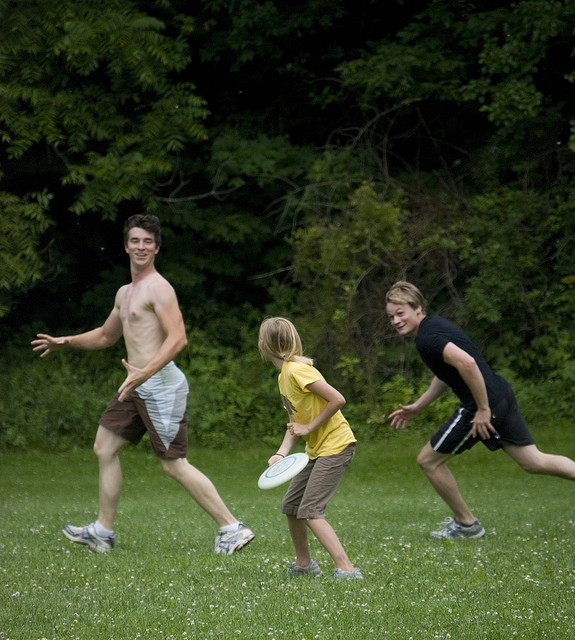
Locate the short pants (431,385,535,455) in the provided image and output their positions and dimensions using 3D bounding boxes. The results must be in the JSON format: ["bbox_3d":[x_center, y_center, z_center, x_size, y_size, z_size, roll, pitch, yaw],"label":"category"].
[{"bbox_3d":[1.560,0.792,8.282,0.790,0.485,0.328,0,4,1],"label":"short pants"}]

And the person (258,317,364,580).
[{"bbox_3d":[0.163,0.909,7.509,0.700,1.831,0.557,-1,2,-2],"label":"person"}]

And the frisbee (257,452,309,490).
[{"bbox_3d":[-0.026,1.069,7.412,0.350,0.240,0.413,-1,1,6],"label":"frisbee"}]
